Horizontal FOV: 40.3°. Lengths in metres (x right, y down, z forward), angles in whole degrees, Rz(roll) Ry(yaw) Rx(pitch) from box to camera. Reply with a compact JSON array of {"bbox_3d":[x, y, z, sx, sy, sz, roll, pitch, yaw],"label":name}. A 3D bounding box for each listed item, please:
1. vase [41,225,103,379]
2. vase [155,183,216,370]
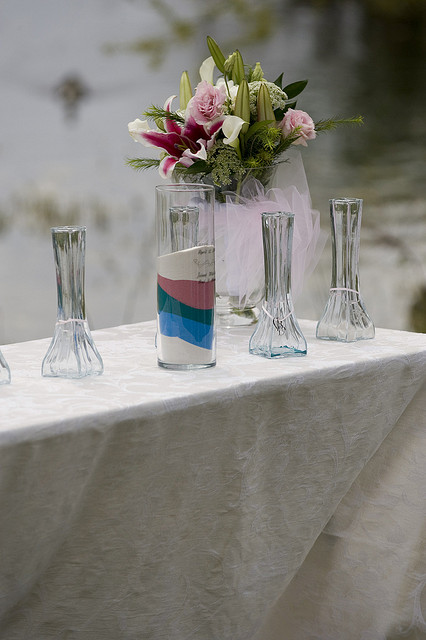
[{"bbox_3d":[-0.120,-0.011,0.496,0.051,0.131,0.048,-2,9,-17],"label":"vase"},{"bbox_3d":[-0.024,-0.035,0.552,0.062,0.170,0.056,-3,2,-8],"label":"vase"}]
